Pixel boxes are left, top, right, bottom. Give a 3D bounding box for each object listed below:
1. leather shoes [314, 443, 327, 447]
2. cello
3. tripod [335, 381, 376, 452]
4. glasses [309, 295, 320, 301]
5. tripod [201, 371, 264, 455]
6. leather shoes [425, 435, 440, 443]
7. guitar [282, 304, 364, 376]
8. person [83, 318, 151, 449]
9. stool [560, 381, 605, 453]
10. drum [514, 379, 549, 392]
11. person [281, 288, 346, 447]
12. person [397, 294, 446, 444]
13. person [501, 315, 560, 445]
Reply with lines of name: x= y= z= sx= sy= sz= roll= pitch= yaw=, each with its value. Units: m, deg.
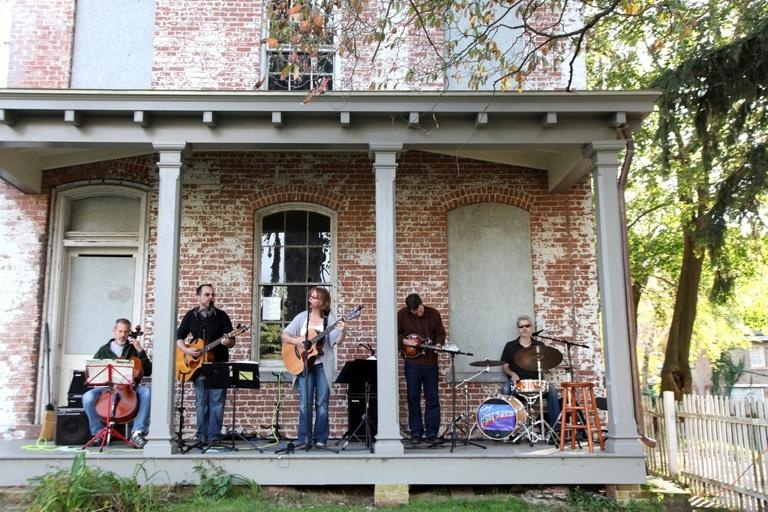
leather shoes: x=-0.995 y=2.966 z=11.558 sx=0.166 sy=0.098 sz=0.114 roll=2 pitch=-11 yaw=-5
cello: x=-4.274 y=1.934 z=12.221 sx=0.661 sy=1.717 sz=0.541 roll=1 pitch=-38 yaw=-3
tripod: x=-0.469 y=2.649 z=12.293 sx=0.631 sy=1.132 sz=0.650 roll=0 pitch=-4 yaw=1
glasses: x=-1.103 y=0.654 z=11.645 sx=0.095 sy=0.073 sz=0.130 roll=-10 pitch=-29 yaw=19
tripod: x=-2.403 y=2.365 z=11.586 sx=0.832 sy=1.372 sz=0.825 roll=3 pitch=-10 yaw=-17
leather shoes: x=0.804 y=3.026 z=12.193 sx=0.216 sy=0.093 sz=0.088 roll=-5 pitch=-14 yaw=41
guitar: x=-1.061 y=1.365 z=11.502 sx=1.035 sy=0.920 sz=0.557 roll=2 pitch=-11 yaw=-5
person: x=-4.260 y=2.029 z=11.920 sx=0.958 sy=2.172 sz=0.730 roll=0 pitch=-26 yaw=-9
stool: x=3.209 y=2.646 z=12.000 sx=0.720 sy=1.108 sz=0.645 roll=12 pitch=-6 yaw=-19
drum: x=2.426 y=2.146 z=12.221 sx=0.539 sy=0.228 sz=0.635 roll=-2 pitch=-11 yaw=13
person: x=-1.079 y=1.745 z=11.695 sx=1.153 sy=2.493 sz=0.767 roll=-3 pitch=-14 yaw=13
person: x=0.638 y=1.911 z=12.539 sx=0.929 sy=2.526 sz=0.806 roll=-3 pitch=-3 yaw=10
person: x=2.574 y=2.116 z=12.922 sx=0.953 sy=2.008 sz=1.110 roll=4 pitch=0 yaw=11
